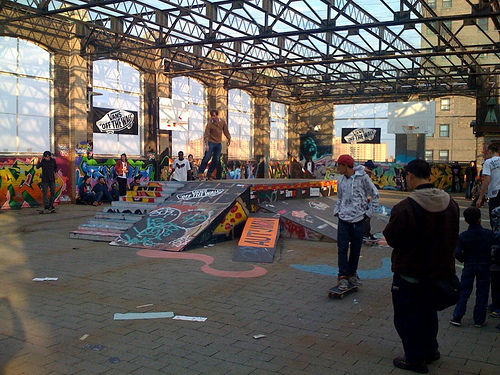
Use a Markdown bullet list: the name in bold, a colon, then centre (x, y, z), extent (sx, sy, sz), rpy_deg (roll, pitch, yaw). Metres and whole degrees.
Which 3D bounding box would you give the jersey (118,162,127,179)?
- **jersey**: centre (-5.924, -0.814, 18.580), extent (0.211, 0.737, 0.497), rpy_deg (3, 7, 26)

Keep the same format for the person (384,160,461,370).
- **person**: centre (1.887, 0.868, 4.395), extent (0.743, 2.326, 0.534), rpy_deg (3, 7, 23)

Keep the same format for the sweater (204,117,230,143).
- **sweater**: centre (-1.073, -1.824, 12.727), extent (1.067, 0.768, 0.410), rpy_deg (-5, 8, -38)

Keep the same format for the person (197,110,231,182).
- **person**: centre (-1.214, -1.329, 12.655), extent (0.719, 2.190, 1.362), rpy_deg (3, 7, 24)

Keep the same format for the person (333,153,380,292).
- **person**: centre (1.703, 0.571, 6.887), extent (0.938, 2.270, 0.769), rpy_deg (5, -6, -11)

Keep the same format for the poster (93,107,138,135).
- **poster**: centre (-7.157, -3.572, 21.246), extent (0.047, 1.430, 3.334), rpy_deg (7, 14, 25)

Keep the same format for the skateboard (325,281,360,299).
- **skateboard**: centre (1.550, 1.674, 6.560), extent (0.200, 0.114, 0.684), rpy_deg (4, 5, 38)

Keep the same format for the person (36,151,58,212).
- **person**: centre (-8.103, -0.227, 15.890), extent (0.657, 2.440, 0.799), rpy_deg (-3, 7, -29)

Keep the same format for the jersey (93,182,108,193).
- **jersey**: centre (-7.404, 0.000, 19.589), extent (0.637, 0.509, 0.397), rpy_deg (-3, 7, -23)

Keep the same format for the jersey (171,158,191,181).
- **jersey**: centre (-2.682, -0.684, 15.574), extent (0.946, 1.190, 0.503), rpy_deg (3, -13, -10)

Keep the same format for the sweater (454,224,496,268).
- **sweater**: centre (3.098, 0.799, 5.535), extent (0.549, 0.639, 0.538), rpy_deg (9, 11, 32)

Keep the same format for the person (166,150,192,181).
- **person**: centre (-2.645, -0.855, 15.518), extent (0.731, 1.115, 0.708), rpy_deg (-1, 6, -9)

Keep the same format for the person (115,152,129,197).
- **person**: centre (-6.011, -0.584, 18.575), extent (0.514, 1.917, 0.886), rpy_deg (-2, 6, -15)

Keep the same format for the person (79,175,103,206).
- **person**: centre (-7.762, 0.120, 19.370), extent (0.937, 1.379, 0.597), rpy_deg (1, 6, 11)
